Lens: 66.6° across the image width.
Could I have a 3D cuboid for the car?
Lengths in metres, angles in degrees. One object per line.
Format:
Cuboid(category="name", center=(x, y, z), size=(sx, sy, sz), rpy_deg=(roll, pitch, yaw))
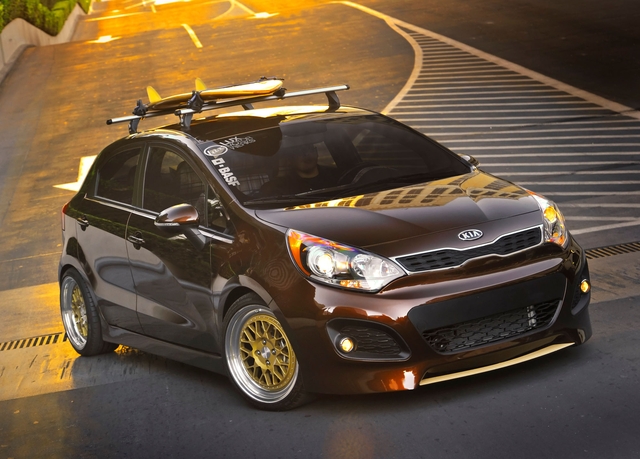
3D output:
Cuboid(category="car", center=(-0.421, -0.092, 4.631), size=(2.527, 1.650, 4.519), rpy_deg=(-13, 15, -41))
